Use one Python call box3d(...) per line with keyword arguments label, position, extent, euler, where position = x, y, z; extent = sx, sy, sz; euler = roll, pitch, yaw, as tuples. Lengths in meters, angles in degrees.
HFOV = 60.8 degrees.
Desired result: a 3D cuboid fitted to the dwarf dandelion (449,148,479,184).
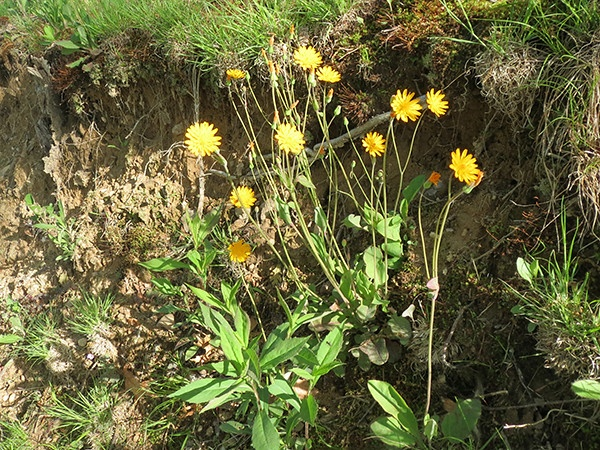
box3d(label="dwarf dandelion", position=(0.962, -0.370, 3.076), extent=(0.194, 0.208, 0.094), euler=(-1, 60, 26))
